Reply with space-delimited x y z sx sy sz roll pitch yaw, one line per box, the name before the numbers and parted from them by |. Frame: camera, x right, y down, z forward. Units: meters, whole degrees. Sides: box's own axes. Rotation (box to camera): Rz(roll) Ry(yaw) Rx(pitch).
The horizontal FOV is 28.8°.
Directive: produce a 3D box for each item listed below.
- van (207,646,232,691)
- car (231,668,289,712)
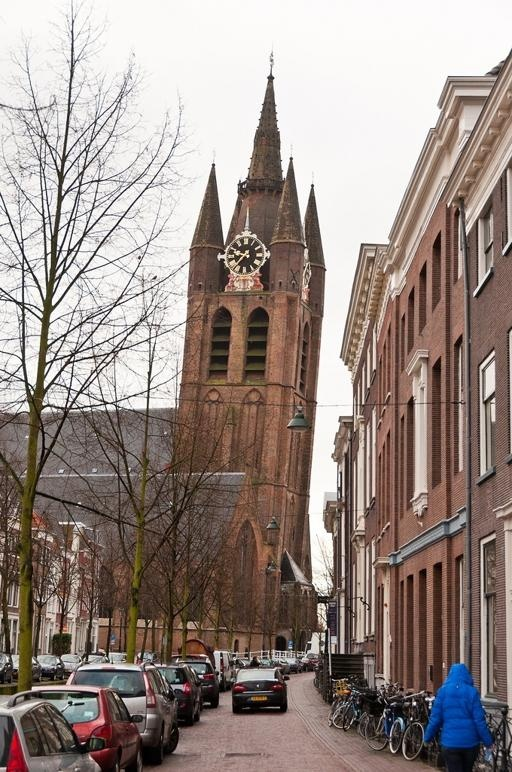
van | -2.030 13.481 47.584 1.089 1.932 3.269 -1 -3 5
car | 0.123 9.214 29.971 1.582 1.505 1.824 3 -20 1
